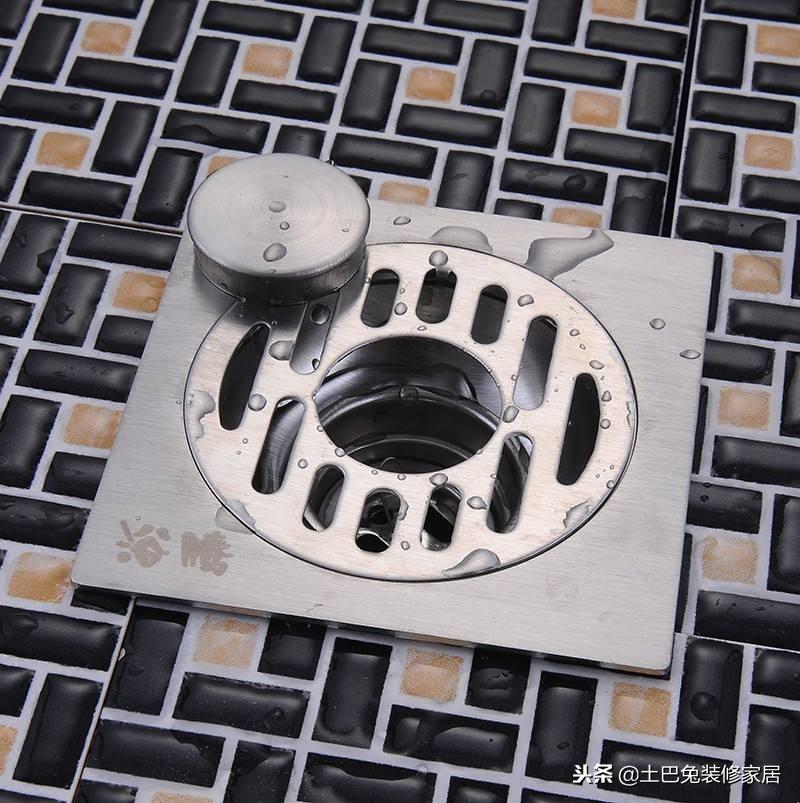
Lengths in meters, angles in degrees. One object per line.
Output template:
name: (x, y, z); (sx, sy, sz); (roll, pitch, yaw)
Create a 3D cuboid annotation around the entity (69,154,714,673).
entity: (0.019, 0.054, 1.141); (0.651, 0.224, 0.410); (11, 66, 7)
